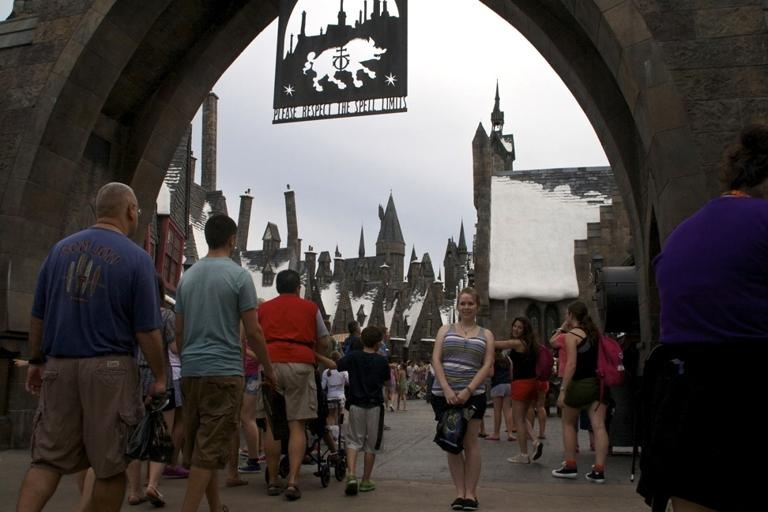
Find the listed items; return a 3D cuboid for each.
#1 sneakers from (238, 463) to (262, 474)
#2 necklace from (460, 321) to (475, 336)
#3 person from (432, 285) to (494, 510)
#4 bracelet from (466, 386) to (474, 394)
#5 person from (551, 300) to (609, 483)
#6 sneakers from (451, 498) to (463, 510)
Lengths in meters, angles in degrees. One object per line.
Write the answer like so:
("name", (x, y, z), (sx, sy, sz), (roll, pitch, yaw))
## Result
("sneakers", (-1.702, 2.762, 11.098), (0.313, 0.140, 0.122), (4, -8, 0))
("necklace", (0.910, 0.813, 9.454), (0.162, 0.154, 0.064), (3, -2, 12))
("person", (0.845, 1.519, 9.322), (0.678, 2.382, 0.448), (-1, -9, 4))
("bracelet", (0.920, 1.456, 9.188), (0.068, 0.067, 0.020), (0, -6, -24))
("person", (2.437, 1.691, 10.773), (0.599, 2.219, 0.507), (-2, -9, 10))
("sneakers", (0.760, 2.604, 8.975), (0.127, 0.121, 0.084), (-1, -9, 9))
